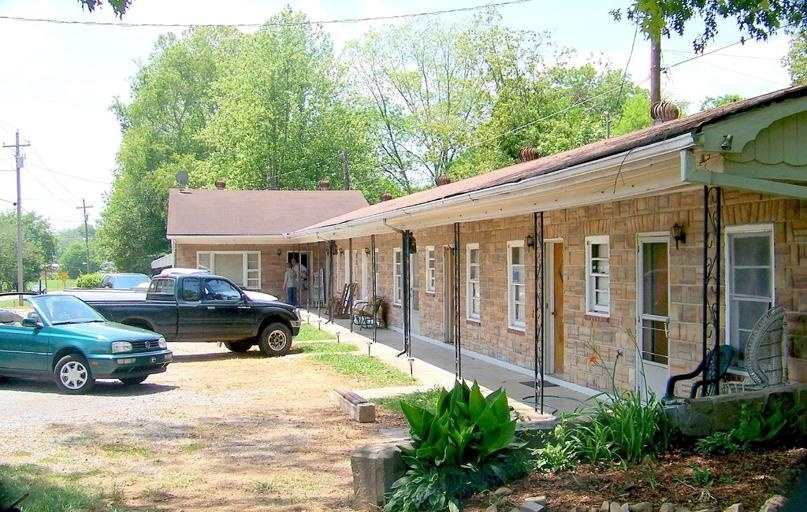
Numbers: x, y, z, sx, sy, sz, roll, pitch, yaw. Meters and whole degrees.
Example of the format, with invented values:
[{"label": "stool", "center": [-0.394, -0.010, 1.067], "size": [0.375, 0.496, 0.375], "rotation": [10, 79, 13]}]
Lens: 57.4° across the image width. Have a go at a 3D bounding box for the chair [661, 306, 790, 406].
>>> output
[{"label": "chair", "center": [5.003, 1.462, 10.981], "size": [1.283, 1.399, 1.163], "rotation": [-2, 4, 32]}]
